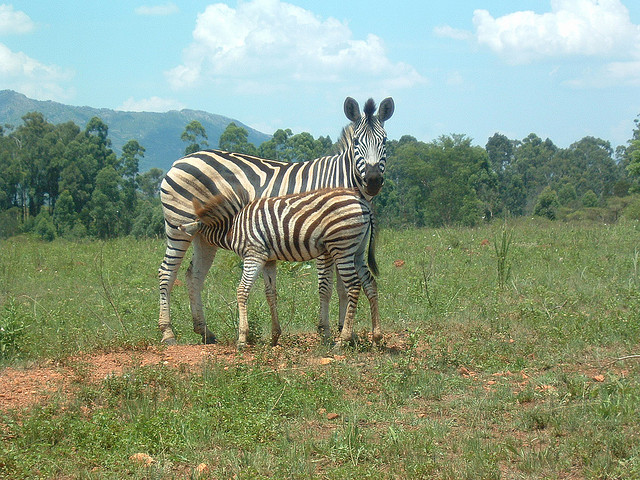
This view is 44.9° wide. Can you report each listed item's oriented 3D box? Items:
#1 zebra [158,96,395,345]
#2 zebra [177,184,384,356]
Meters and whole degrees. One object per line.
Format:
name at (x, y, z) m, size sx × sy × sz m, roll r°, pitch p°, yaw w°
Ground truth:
zebra at (-0.807, -0.269, 15.025) m, size 4.833 × 5.052 × 1.830 m, roll 0°, pitch 7°, yaw 10°
zebra at (-0.528, 0.519, 14.258) m, size 3.277 × 2.904 × 1.328 m, roll -1°, pitch 13°, yaw 6°
